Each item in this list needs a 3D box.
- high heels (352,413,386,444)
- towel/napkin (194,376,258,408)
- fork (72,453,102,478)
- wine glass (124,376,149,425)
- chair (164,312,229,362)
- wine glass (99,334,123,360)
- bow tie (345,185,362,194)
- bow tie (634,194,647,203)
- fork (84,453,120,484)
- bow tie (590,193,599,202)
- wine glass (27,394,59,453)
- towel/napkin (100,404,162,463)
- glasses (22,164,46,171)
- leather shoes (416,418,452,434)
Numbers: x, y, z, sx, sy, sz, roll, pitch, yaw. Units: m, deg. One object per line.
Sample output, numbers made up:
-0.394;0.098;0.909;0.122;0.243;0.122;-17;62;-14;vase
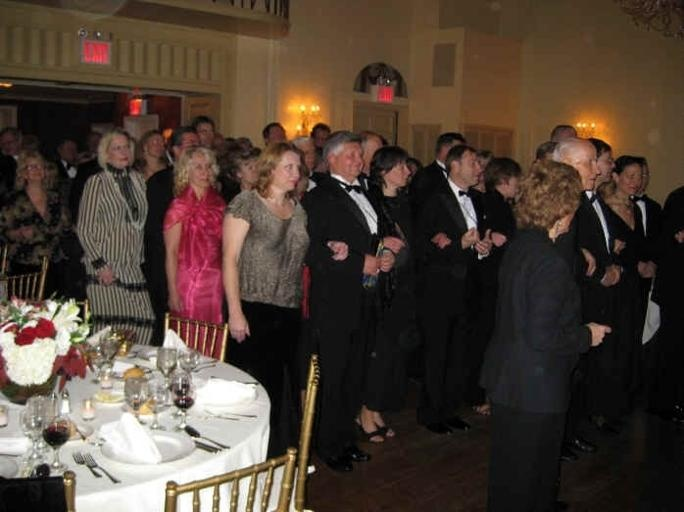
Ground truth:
0.210;1.324;4.492;0.127;0.094;0.336;-7;10;-23;high heels
-0.539;0.632;2.710;0.178;0.060;0.137;1;10;-5;towel/napkin
-0.949;0.768;2.185;0.055;0.032;0.221;-8;20;-33;fork
-0.884;0.615;2.539;0.111;0.189;0.116;0;0;23;wine glass
-0.867;0.484;3.487;0.263;0.432;0.276;-2;-10;13;chair
-1.117;0.449;2.896;0.125;0.122;0.081;5;0;-18;wine glass
0.075;-0.457;3.980;0.159;0.034;0.042;6;-11;-35;bow tie
2.745;-0.537;5.420;0.089;0.077;0.123;-1;0;17;bow tie
-0.872;0.781;2.146;0.021;0.020;0.162;-13;22;-37;fork
1.793;-0.417;4.186;0.028;0.085;0.088;-3;20;41;bow tie
-1.124;0.651;2.245;0.113;0.181;0.111;-3;4;-3;wine glass
-0.791;0.688;2.203;0.236;0.165;0.091;9;14;30;towel/napkin
-2.663;-0.776;5.101;0.161;0.053;0.077;-5;14;-32;glasses
0.727;1.336;4.623;0.273;0.087;0.112;4;-10;29;leather shoes
